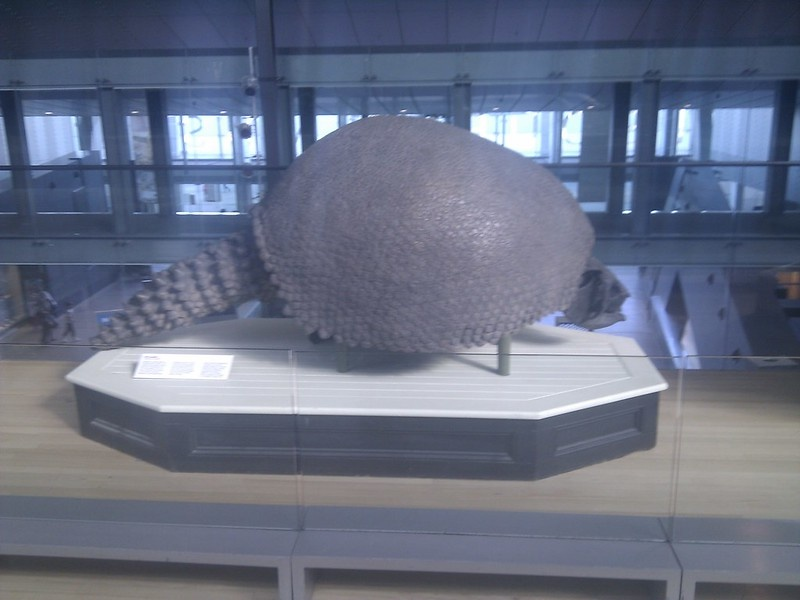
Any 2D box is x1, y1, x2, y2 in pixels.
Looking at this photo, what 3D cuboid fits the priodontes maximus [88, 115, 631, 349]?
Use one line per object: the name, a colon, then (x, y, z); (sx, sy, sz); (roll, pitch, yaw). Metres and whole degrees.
priodontes maximus: (-0.026, -0.293, 3.264); (2.528, 0.657, 0.969); (-1, 38, -3)
